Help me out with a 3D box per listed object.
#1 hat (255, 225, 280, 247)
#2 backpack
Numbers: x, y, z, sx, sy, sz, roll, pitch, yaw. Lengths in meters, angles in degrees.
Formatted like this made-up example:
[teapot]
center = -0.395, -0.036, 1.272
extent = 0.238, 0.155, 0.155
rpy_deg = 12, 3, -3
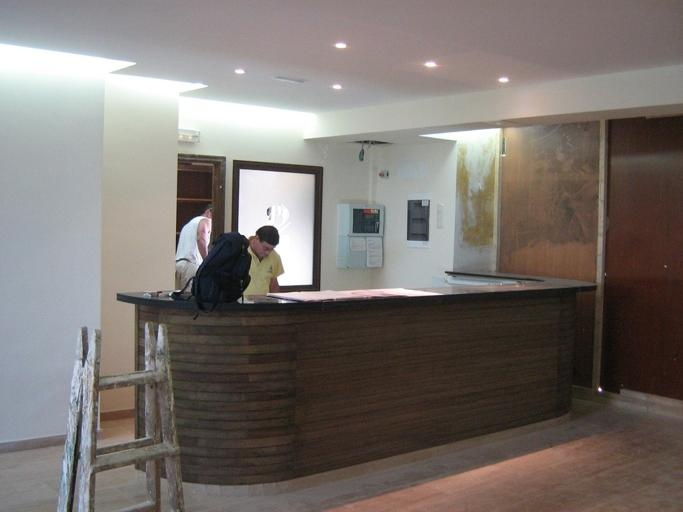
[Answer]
[hat]
center = -0.654, -0.178, 4.950
extent = 0.151, 0.180, 0.197
rpy_deg = 3, 8, -30
[backpack]
center = -0.955, 0.105, 4.366
extent = 0.311, 0.596, 0.514
rpy_deg = 17, -12, -8
